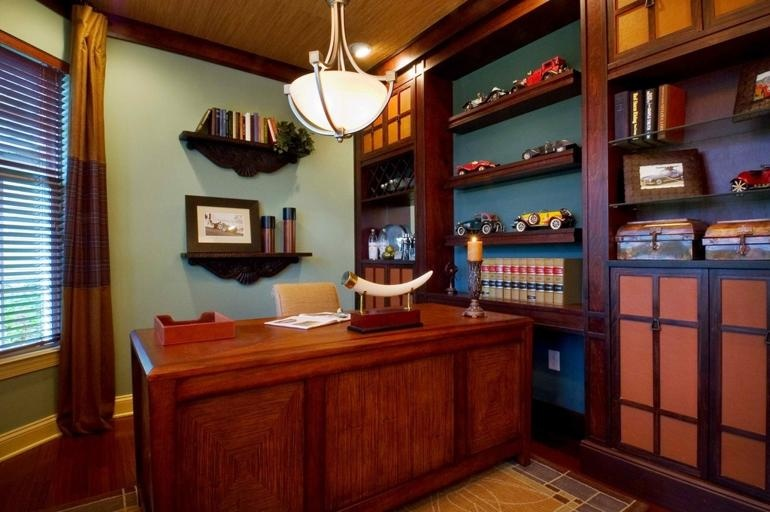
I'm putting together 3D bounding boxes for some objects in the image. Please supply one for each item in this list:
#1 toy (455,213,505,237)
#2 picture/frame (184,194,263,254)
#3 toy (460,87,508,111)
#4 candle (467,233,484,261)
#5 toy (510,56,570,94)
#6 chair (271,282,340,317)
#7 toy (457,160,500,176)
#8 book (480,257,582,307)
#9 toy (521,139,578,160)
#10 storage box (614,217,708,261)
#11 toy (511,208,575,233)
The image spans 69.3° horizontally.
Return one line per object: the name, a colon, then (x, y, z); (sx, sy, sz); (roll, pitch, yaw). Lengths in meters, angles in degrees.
toy: (0.822, -0.278, 4.896); (0.185, 0.152, 0.324); (-1, 4, -45)
picture/frame: (-1.540, -0.294, 5.155); (0.553, 0.466, 0.040); (1, -9, -33)
toy: (0.854, -1.353, 4.854); (0.439, 0.163, 0.173); (-9, 10, 41)
candle: (0.625, -0.056, 3.873); (0.095, 0.183, 0.085); (-6, 3, -26)
toy: (1.233, -1.454, 4.448); (0.467, 0.210, 0.190); (-3, 3, 34)
chair: (-0.620, 0.361, 4.315); (0.322, 0.265, 0.323); (5, -15, -29)
toy: (0.807, -0.789, 4.891); (0.287, 0.091, 0.168); (-5, 6, 38)
book: (1.168, 0.206, 4.500); (0.712, 0.401, 0.344); (-1, 1, 32)
toy: (1.301, -0.852, 4.406); (0.200, 0.103, 0.323); (-17, 7, -40)
storage box: (1.879, -0.103, 3.807); (0.390, 0.244, 0.344); (1, 2, 45)
toy: (1.271, -0.277, 4.499); (0.370, 0.170, 0.206); (1, 2, 41)
